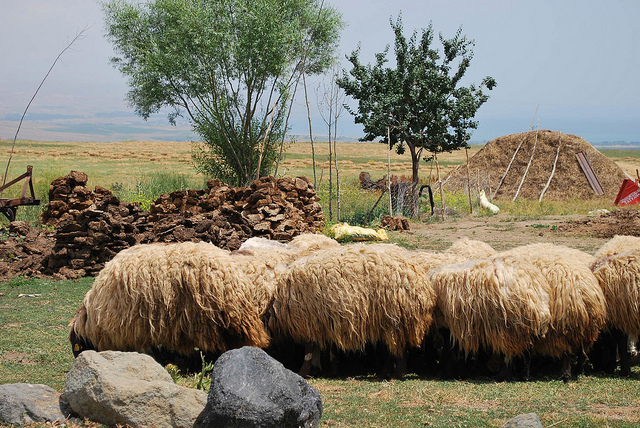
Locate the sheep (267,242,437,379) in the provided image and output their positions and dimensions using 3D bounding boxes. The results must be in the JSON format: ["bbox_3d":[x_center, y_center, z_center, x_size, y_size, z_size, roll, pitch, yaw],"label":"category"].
[{"bbox_3d":[0.401,1.604,11.416,3.114,2.318,2.048,-5,11,-6],"label":"sheep"}]

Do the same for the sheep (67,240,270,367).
[{"bbox_3d":[-2.516,1.466,11.142,2.906,1.573,1.759,-6,1,-3],"label":"sheep"}]

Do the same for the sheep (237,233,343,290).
[{"bbox_3d":[-0.619,0.721,11.557,1.851,1.001,0.868,-2,10,-19],"label":"sheep"}]

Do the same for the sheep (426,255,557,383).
[{"bbox_3d":[2.746,1.633,11.244,1.504,1.820,2.609,-10,8,-39],"label":"sheep"}]

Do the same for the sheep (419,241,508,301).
[{"bbox_3d":[2.301,0.882,11.186,0.764,0.782,1.504,-2,1,-41],"label":"sheep"}]

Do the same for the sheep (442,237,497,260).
[{"bbox_3d":[2.635,0.619,11.576,0.466,0.239,0.615,0,7,-36],"label":"sheep"}]
